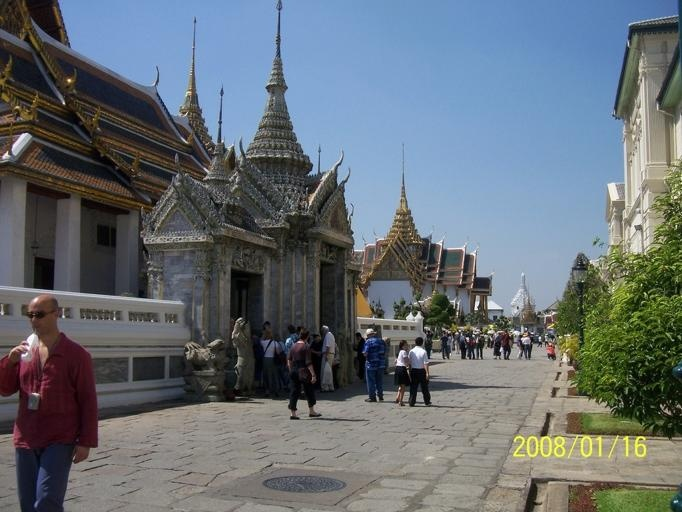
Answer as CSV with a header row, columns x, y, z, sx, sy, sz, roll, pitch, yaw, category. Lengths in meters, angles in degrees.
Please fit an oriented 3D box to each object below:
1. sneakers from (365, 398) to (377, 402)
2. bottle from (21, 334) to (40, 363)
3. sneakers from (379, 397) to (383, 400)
x,y,z,sx,sy,sz,roll,pitch,yaw,category
0.722,3.555,15.248,0.112,0.111,0.248,-4,-16,27,sneakers
-2.644,0.803,5.368,0.131,0.234,0.054,18,-10,37,bottle
0.986,3.582,15.452,0.110,0.123,0.064,1,5,7,sneakers
